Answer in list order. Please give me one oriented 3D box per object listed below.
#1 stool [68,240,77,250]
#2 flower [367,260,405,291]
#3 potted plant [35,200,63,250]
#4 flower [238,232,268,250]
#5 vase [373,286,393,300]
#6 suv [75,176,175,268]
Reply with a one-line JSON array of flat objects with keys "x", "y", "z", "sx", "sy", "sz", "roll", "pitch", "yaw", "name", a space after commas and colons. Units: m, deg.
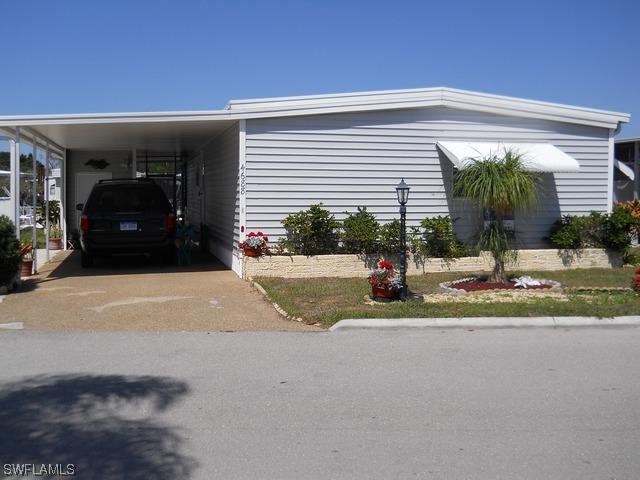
[{"x": -8.409, "y": 0.167, "z": 19.216, "sx": 0.327, "sy": 0.331, "sz": 0.340, "roll": -1, "pitch": -2, "yaw": -16, "name": "stool"}, {"x": 1.214, "y": 0.636, "z": 10.331, "sx": 0.657, "sy": 0.464, "sz": 0.336, "roll": 5, "pitch": 7, "yaw": 41, "name": "flower"}, {"x": -8.984, "y": -0.544, "z": 19.065, "sx": 0.718, "sy": 1.652, "sz": 1.117, "roll": -2, "pitch": 7, "yaw": -16, "name": "potted plant"}, {"x": -1.464, "y": -0.006, "z": 12.681, "sx": 0.610, "sy": 0.351, "sz": 0.387, "roll": 0, "pitch": 6, "yaw": -4, "name": "flower"}, {"x": 1.128, "y": 0.950, "z": 10.315, "sx": 0.420, "sy": 0.271, "sz": 0.163, "roll": 6, "pitch": 8, "yaw": 42, "name": "vase"}, {"x": -4.362, "y": -0.493, "z": 12.829, "sx": 1.355, "sy": 1.179, "sz": 2.437, "roll": -1, "pitch": 7, "yaw": -14, "name": "suv"}]
